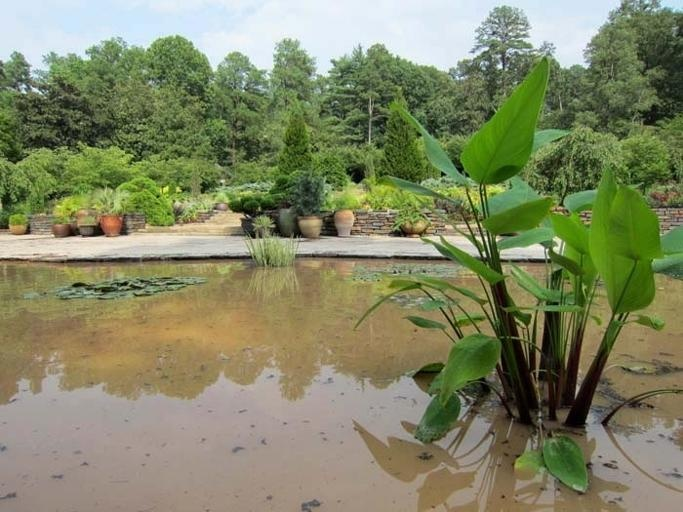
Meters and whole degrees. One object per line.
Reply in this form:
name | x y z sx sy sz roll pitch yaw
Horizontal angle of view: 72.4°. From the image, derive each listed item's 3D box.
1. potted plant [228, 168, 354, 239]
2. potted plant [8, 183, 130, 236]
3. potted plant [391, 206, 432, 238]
potted plant | -1.506 -1.294 12.147 2.397 1.760 2.288 -1 4 -4
potted plant | -7.289 -1.267 13.479 1.783 1.287 1.345 -2 10 -12
potted plant | 1.896 -0.927 12.616 0.983 0.768 0.866 3 10 13
